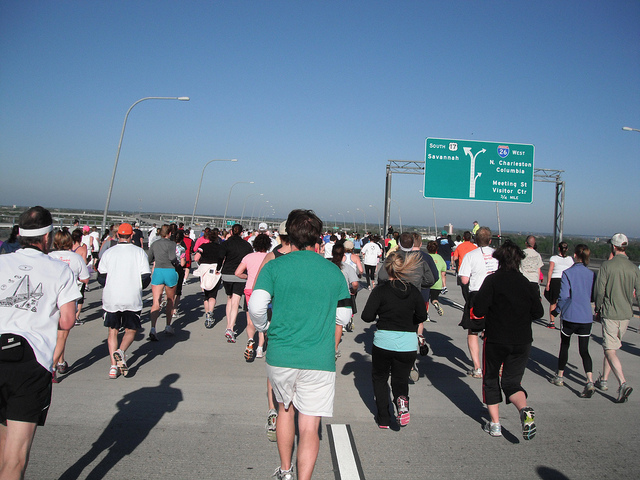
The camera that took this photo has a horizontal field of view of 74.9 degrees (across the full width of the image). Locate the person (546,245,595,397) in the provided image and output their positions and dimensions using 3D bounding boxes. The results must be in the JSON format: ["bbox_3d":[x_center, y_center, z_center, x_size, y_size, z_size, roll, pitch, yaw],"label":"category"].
[{"bbox_3d":[4.031,1.212,6.655,0.629,2.142,0.976,2,1,30],"label":"person"}]

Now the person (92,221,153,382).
[{"bbox_3d":[-3.065,0.912,6.446,0.814,2.367,0.680,1,1,-3],"label":"person"}]

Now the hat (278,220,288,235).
[{"bbox_3d":[-0.519,-0.175,5.759,0.177,0.180,0.233,-2,5,-1],"label":"hat"}]

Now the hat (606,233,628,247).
[{"bbox_3d":[4.669,0.016,6.506,0.220,0.204,0.292,2,1,38],"label":"hat"}]

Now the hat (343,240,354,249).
[{"bbox_3d":[0.734,0.115,10.683,0.225,0.163,0.345,2,1,0],"label":"hat"}]

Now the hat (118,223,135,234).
[{"bbox_3d":[-3.031,-0.177,6.484,0.199,0.169,0.287,1,1,-28],"label":"hat"}]

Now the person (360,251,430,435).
[{"bbox_3d":[0.955,1.245,5.194,0.685,2.152,0.804,2,1,26],"label":"person"}]

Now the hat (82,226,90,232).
[{"bbox_3d":[-10.835,-0.508,19.312,0.341,0.207,0.511,8,9,-22],"label":"hat"}]

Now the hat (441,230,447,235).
[{"bbox_3d":[5.420,-0.319,18.240,0.356,0.192,0.551,1,3,15],"label":"hat"}]
